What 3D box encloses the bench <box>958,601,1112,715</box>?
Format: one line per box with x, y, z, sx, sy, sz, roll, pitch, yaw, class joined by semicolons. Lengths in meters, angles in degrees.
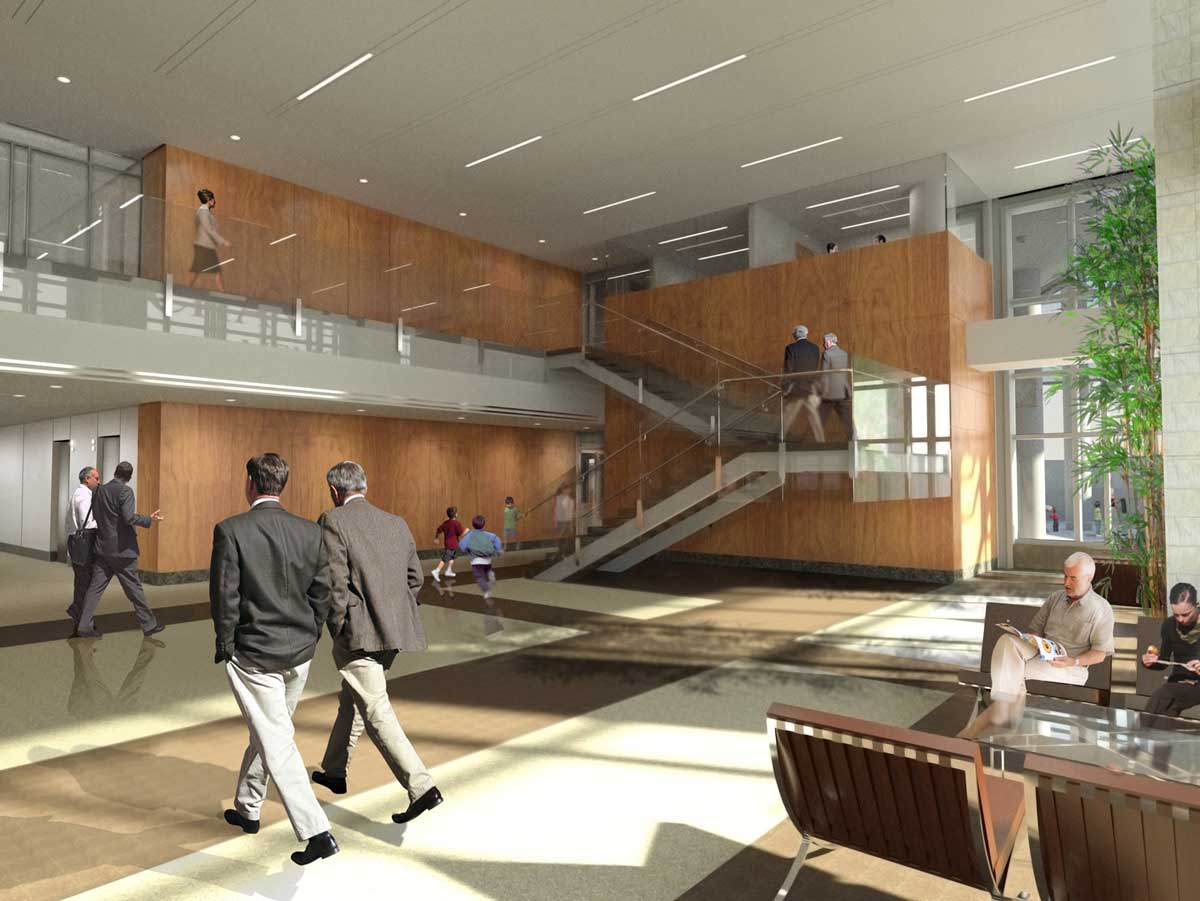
3.565;1.690;6.664;0.935;0.654;0.374;5;12;44;bench

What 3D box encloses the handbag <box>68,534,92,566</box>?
-5.919;1.112;9.404;0.362;0.295;0.210;-6;-8;44;handbag

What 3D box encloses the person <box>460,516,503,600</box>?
-1.851;1.597;12.783;0.667;1.242;1.153;0;4;-9;person

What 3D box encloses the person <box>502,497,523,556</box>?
-1.731;1.454;16.321;0.260;1.125;0.732;0;3;-6;person

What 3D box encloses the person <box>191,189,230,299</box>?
-5.774;-3.036;12.194;0.583;1.235;0.279;-2;5;-42;person

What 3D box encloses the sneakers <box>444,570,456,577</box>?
-2.595;2.147;14.469;0.212;0.148;0.072;-2;3;-20;sneakers

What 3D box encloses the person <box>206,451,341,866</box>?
-1.976;1.261;5.088;0.731;2.490;0.499;0;3;-6;person

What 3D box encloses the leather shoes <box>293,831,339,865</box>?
-1.734;2.408;5.054;0.273;0.214;0.211;1;4;-2;leather shoes

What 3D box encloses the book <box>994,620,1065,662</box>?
3.486;1.527;6.565;0.385;0.121;0.236;38;-17;-3;book

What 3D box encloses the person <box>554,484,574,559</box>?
-0.606;1.192;14.427;0.220;1.202;0.592;-1;4;-28;person

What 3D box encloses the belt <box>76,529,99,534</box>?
-5.830;0.910;9.420;0.112;0.081;0.112;0;-5;1;belt

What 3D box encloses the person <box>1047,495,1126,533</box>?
9.164;1.148;15.388;0.409;0.527;0.739;8;-10;-44;person

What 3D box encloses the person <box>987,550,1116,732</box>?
3.607;1.554;6.703;0.988;1.437;0.690;5;7;-15;person

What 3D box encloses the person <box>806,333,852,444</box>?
3.310;-0.911;11.477;0.462;1.499;0.878;2;4;15;person

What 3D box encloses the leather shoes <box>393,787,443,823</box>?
-1.179;2.332;5.400;0.301;0.128;0.105;-30;-27;3;leather shoes
